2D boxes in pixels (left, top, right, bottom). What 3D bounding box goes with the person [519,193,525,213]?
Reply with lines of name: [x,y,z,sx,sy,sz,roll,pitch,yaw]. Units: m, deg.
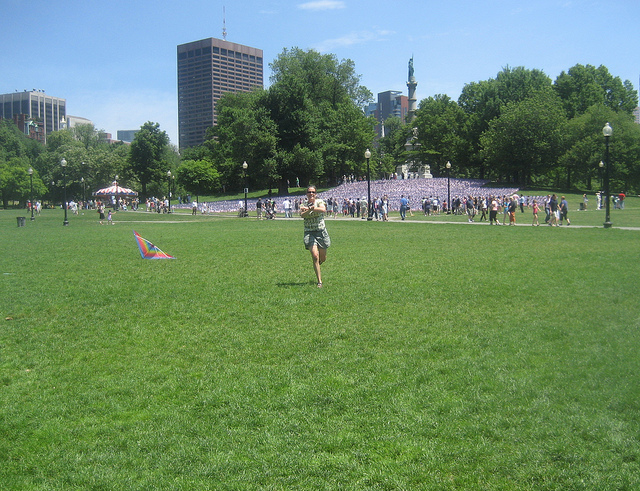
person: [13.790,-2.680,50.094,0.265,1.049,1.911,0,5,13]

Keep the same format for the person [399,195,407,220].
person: [4.882,-2.166,43.093,0.312,1.339,1.297,0,5,9]

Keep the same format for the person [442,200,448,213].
person: [9.075,-2.705,53.341,0.368,0.868,1.523,0,5,10]

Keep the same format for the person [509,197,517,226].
person: [9.146,-1.527,34.902,0.262,1.162,1.671,0,5,15]

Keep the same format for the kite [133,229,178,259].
kite: [-4.791,0.014,20.536,1.150,0.073,1.335,5,-30,14]

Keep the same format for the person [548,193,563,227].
person: [10.553,-1.480,32.800,0.568,1.310,2.509,0,5,18]

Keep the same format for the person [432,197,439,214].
person: [7.891,-2.627,50.400,0.341,1.127,1.613,0,5,9]
